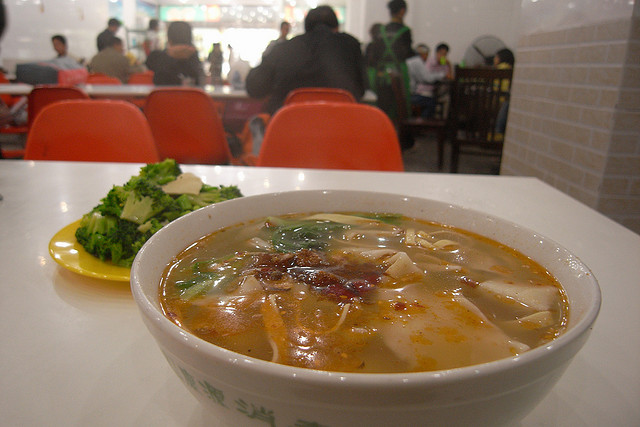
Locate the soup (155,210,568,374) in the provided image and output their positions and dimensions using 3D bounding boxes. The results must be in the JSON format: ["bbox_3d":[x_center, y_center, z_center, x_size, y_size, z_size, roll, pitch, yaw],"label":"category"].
[{"bbox_3d":[0.050,0.049,0.624,0.465,0.196,0.323,-2,11,-6],"label":"soup"}]

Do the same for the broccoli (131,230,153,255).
[{"bbox_3d":[-0.425,0.066,1.003,0.044,0.020,0.061,-13,59,-46],"label":"broccoli"}]

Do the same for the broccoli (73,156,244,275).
[{"bbox_3d":[-0.386,-0.009,1.112,0.397,0.128,0.392,-13,30,-20],"label":"broccoli"}]

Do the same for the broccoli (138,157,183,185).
[{"bbox_3d":[-0.451,-0.117,1.237,0.118,0.068,0.130,-2,22,-17],"label":"broccoli"}]

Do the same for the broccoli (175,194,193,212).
[{"bbox_3d":[-0.362,-0.029,1.117,0.034,0.031,0.056,-10,39,-37],"label":"broccoli"}]

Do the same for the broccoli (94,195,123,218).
[{"bbox_3d":[-0.530,-0.017,1.052,0.062,0.032,0.062,-14,43,0],"label":"broccoli"}]

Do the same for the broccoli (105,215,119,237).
[{"bbox_3d":[-0.501,0.031,1.010,0.034,0.037,0.044,5,46,-12],"label":"broccoli"}]

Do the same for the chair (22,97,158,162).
[{"bbox_3d":[-1.142,-0.436,2.183,0.674,0.312,0.214,3,14,1],"label":"chair"}]

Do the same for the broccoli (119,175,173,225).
[{"bbox_3d":[-0.446,-0.040,1.112,0.180,0.101,0.103,7,12,40],"label":"broccoli"}]

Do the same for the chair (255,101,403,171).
[{"bbox_3d":[0.039,-0.337,2.356,0.494,0.506,0.723,0,3,3],"label":"chair"}]

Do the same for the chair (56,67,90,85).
[{"bbox_3d":[-2.936,-1.645,4.983,0.227,0.200,0.329,15,20,26],"label":"chair"}]

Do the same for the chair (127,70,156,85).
[{"bbox_3d":[-2.065,-1.594,4.886,0.238,0.247,0.194,4,32,-4],"label":"chair"}]
